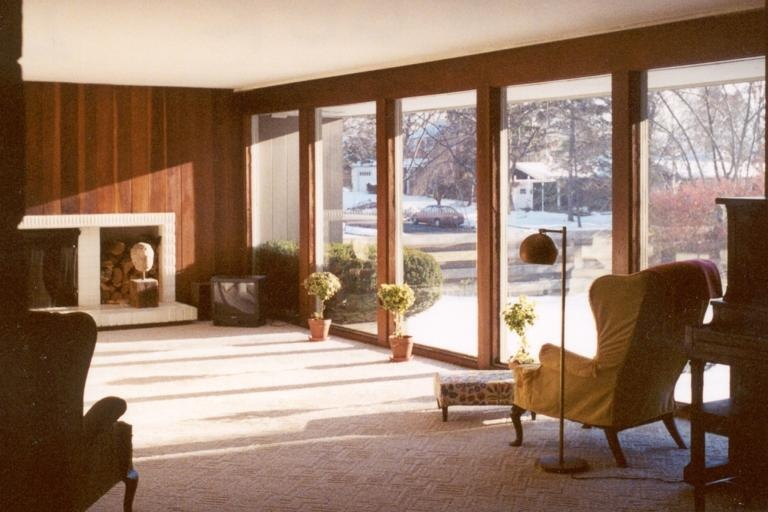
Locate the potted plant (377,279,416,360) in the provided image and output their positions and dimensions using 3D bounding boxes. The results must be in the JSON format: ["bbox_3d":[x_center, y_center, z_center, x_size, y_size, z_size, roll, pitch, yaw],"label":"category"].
[{"bbox_3d":[0.169,0.818,8.392,0.470,1.004,0.774,0,8,2],"label":"potted plant"}]

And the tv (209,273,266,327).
[{"bbox_3d":[-2.243,0.695,10.413,1.108,1.118,0.674,-1,-3,10],"label":"tv"}]

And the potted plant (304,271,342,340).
[{"bbox_3d":[-0.867,0.693,9.454,0.499,1.032,1.035,-1,8,-4],"label":"potted plant"}]

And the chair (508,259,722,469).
[{"bbox_3d":[2.012,0.903,5.764,1.429,1.604,1.625,1,-1,-21],"label":"chair"}]
